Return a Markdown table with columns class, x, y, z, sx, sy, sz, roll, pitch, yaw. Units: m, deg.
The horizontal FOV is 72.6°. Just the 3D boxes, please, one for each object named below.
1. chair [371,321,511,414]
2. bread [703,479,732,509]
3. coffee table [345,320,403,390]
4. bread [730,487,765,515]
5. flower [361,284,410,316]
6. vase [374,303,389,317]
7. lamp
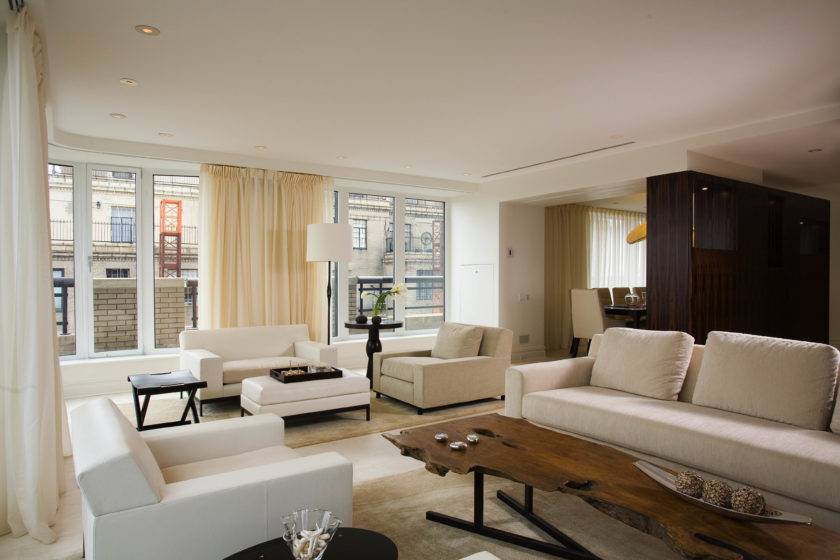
| class | x | y | z | sx | sy | sz | roll | pitch | yaw |
| --- | --- | --- | --- | --- | --- | --- | --- | --- | --- |
| chair | 0.245 | 0.971 | 6.668 | 1.318 | 0.886 | 0.969 | -2 | 1 | -26 |
| bread | 1.756 | 1.264 | 3.385 | 0.123 | 0.084 | 0.160 | -3 | -2 | 4 |
| coffee table | -0.641 | 0.876 | 7.337 | 0.808 | 0.874 | 0.795 | 0 | 2 | -31 |
| bread | 1.904 | 1.281 | 3.349 | 0.154 | 0.112 | 0.152 | 3 | -4 | -10 |
| flower | -0.480 | 0.248 | 7.764 | 0.551 | 0.658 | 0.487 | 8 | -3 | -7 |
| vase | -0.521 | 0.391 | 7.473 | 0.242 | 0.241 | 0.183 | 1 | 4 | 2 |
| lamp | -1.193 | 0.054 | 7.500 | 0.529 | 1.614 | 1.064 | -2 | 2 | -11 |
